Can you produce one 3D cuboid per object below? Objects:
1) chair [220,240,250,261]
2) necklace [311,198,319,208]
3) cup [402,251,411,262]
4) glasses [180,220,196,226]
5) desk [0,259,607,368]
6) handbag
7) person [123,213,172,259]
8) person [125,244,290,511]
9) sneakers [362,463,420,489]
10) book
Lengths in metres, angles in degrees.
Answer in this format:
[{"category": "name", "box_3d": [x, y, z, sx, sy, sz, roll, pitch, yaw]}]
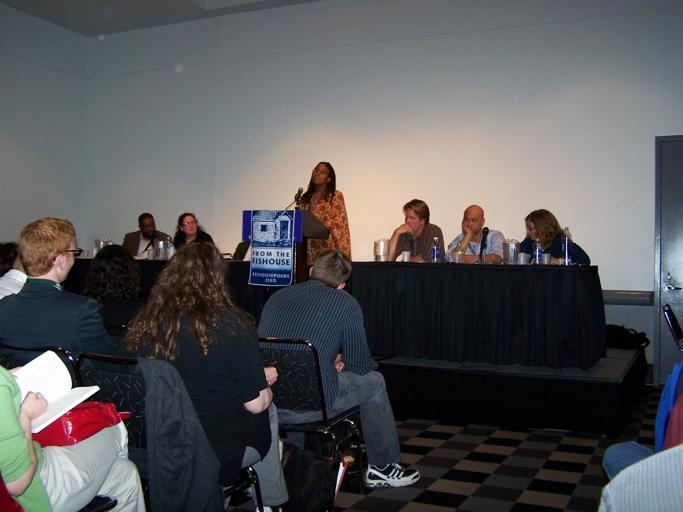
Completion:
[{"category": "chair", "box_3d": [-1.238, -0.076, 6.168, 0.188, 0.157, 0.231, 7, -5, -20]}, {"category": "necklace", "box_3d": [-0.285, -0.549, 5.577, 0.094, 0.025, 0.100, -32, 20, 40]}, {"category": "cup", "box_3d": [0.596, 0.000, 4.941, 0.092, 0.113, 0.090, 1, -5, 0]}, {"category": "glasses", "box_3d": [-1.683, -0.371, 5.853, 0.146, 0.061, 0.071, 0, 1, -26]}, {"category": "desk", "box_3d": [0.037, 0.335, 3.073, 2.407, 0.419, 0.606, 2, -9, 20]}, {"category": "handbag", "box_3d": [-0.799, 0.505, 1.623, 0.110, 0.050, 0.142, -3, 7, 33]}, {"category": "person", "box_3d": [-2.484, -0.272, 6.840, 0.452, 1.027, 0.507, -6, 8, -22]}, {"category": "person", "box_3d": [-0.530, 0.399, 2.019, 0.544, 0.908, 0.274, 0, 1, -19]}, {"category": "sneakers", "box_3d": [0.275, 1.250, 3.098, 0.341, 0.199, 0.131, -1, -1, -10]}, {"category": "book", "box_3d": [-0.892, 0.406, 1.639, 0.088, 0.239, 0.227, -28, 6, 46]}]
